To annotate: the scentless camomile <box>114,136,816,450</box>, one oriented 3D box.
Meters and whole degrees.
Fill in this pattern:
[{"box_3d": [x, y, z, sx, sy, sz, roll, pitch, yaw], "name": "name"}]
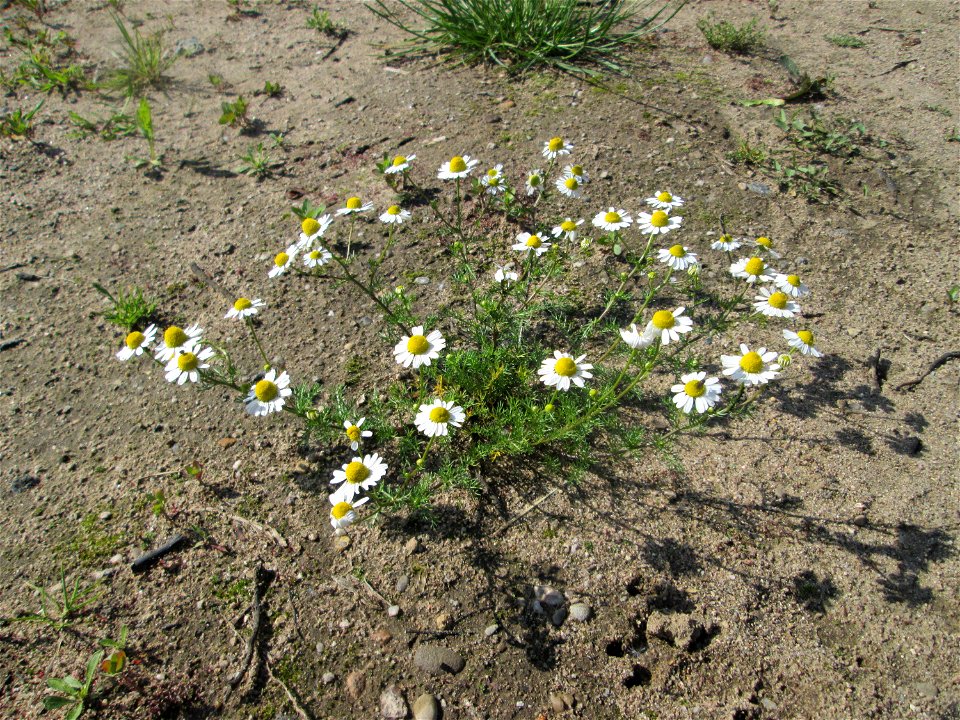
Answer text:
[{"box_3d": [0.272, -0.383, 6.140, 4.311, 1.167, 2.129, -3, 56, -3], "name": "scentless camomile"}]
